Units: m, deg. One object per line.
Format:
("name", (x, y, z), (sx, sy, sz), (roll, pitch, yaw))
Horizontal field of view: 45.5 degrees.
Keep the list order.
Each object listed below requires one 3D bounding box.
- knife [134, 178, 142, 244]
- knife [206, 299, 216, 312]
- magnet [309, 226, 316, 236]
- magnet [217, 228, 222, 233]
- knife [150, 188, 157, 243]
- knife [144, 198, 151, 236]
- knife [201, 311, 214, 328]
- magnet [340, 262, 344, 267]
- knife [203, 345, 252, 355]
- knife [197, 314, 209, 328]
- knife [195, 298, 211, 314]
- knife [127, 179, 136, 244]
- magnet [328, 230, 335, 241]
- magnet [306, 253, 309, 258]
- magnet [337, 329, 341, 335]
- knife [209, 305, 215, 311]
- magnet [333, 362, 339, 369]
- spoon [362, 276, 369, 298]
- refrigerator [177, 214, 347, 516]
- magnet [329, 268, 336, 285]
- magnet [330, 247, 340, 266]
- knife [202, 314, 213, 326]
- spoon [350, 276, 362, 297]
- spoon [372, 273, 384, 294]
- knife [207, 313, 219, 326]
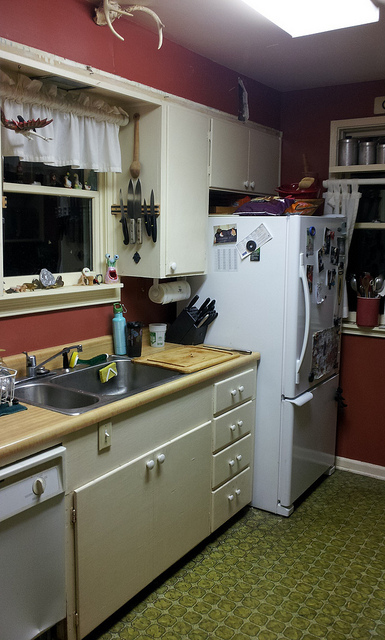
("knife", (-0.257, -0.506, 2.157), (0.027, 0.293, 0.055), (9, 14, 40))
("knife", (0.102, -0.080, 2.469), (0.017, 0.082, 0.023), (33, 13, 8))
("magnet", (0.617, -0.454, 2.364), (0.012, 0.048, 0.038), (1, 4, 30))
("magnet", (0.145, -0.479, 2.475), (0.023, 0.024, 0.006), (14, 14, 37))
("knife", (-0.179, -0.473, 2.115), (0.035, 0.230, 0.022), (1, 2, -10))
("knife", (-0.208, -0.458, 2.117), (0.031, 0.135, 0.019), (1, 2, -9))
("knife", (0.073, 0.000, 2.526), (0.039, 0.135, 0.030), (-17, 49, -43))
("magnet", (0.924, -0.341, 2.852), (0.022, 0.044, 0.024), (6, 34, 19))
("knife", (0.186, 0.164, 2.452), (0.265, 0.022, 0.143), (2, 3, 13))
("knife", (0.057, 0.003, 2.483), (0.016, 0.113, 0.025), (47, 12, 31))
("knife", (0.059, -0.075, 2.524), (0.019, 0.094, 0.024), (40, 14, 21))
("knife", (-0.284, -0.500, 2.179), (0.042, 0.269, 0.025), (-1, 11, 13))
("magnet", (0.802, -0.488, 2.644), (0.014, 0.057, 0.038), (28, 14, -22))
("magnet", (0.589, -0.329, 2.351), (0.006, 0.022, 0.042), (2, 3, 24))
("magnet", (0.940, 0.081, 2.948), (0.024, 0.030, 0.050), (5, -34, 10))
("knife", (0.110, -0.062, 2.516), (0.015, 0.019, 0.022), (10, 47, 6))
("magnet", (0.921, 0.296, 2.955), (0.009, 0.041, 0.038), (12, 18, 39))
("spoon", (1.113, -0.211, 2.955), (0.040, 0.131, 0.036), (2, 2, 23))
("refrigerator", (0.736, -0.014, 3.800), (1.355, 2.956, 1.405), (4, 10, 27))
("magnet", (0.831, -0.250, 2.721), (0.030, 0.128, 0.035), (10, -13, -19))
("magnet", (0.835, -0.374, 2.709), (0.032, 0.102, 0.103), (5, 10, 25))
("knife", (0.076, -0.002, 2.493), (0.013, 0.069, 0.018), (28, -18, 49))
("spoon", (1.087, -0.220, 3.057), (0.071, 0.138, 0.174), (2, 3, 15))
("spoon", (1.218, -0.238, 3.026), (0.037, 0.138, 0.015), (27, -10, -39))
("knife", (0.118, -0.008, 2.523), (0.028, 0.106, 0.030), (43, 27, 15))
